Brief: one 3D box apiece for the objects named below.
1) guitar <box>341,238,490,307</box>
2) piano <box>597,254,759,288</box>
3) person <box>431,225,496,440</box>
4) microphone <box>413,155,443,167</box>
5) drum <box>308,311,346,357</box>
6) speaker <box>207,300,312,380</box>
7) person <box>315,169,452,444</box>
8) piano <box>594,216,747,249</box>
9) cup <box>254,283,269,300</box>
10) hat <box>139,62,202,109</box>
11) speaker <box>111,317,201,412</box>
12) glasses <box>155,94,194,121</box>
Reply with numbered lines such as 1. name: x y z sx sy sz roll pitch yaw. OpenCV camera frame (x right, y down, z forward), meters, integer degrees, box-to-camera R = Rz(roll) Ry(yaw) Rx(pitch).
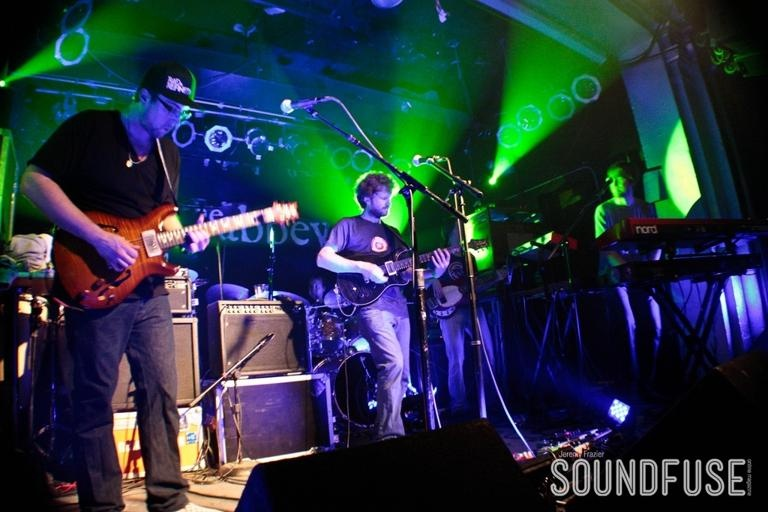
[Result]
1. guitar: 0.184 0.129 5.405 1.549 0.607 0.188 -13 -9 -20
2. piano: 2.661 0.113 5.007 1.238 0.219 0.228 -2 -10 -4
3. person: 0.895 0.987 6.747 0.821 2.180 0.221 -5 2 -34
4. microphone: 0.362 -0.864 5.150 0.306 0.106 0.108 2 -41 18
5. drum: -0.642 0.867 6.300 0.358 0.497 0.140 7 -16 -22
6. speaker: -1.335 0.900 5.896 1.097 0.957 0.734 4 -20 -30
7. person: -0.025 0.394 5.368 1.173 2.522 0.483 -2 -10 -3
8. piano: 2.527 -0.188 4.986 1.219 0.235 0.319 -2 -10 -2
9. cup: -1.575 0.459 7.202 0.188 0.213 0.187 -2 -2 0
10. hat: -1.568 -1.276 4.230 0.400 0.235 0.297 18 13 -1
11. speaker: -2.197 0.967 5.497 1.003 0.995 0.723 -1 -6 -18
12. glasses: -1.567 -1.096 4.172 0.055 0.181 0.177 -50 -15 11
